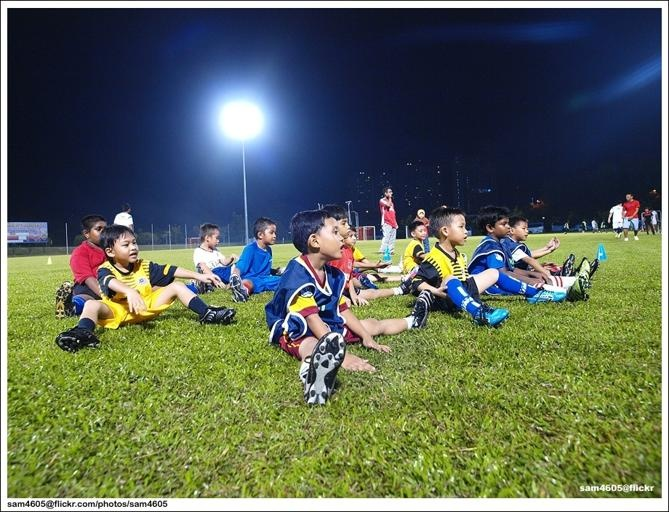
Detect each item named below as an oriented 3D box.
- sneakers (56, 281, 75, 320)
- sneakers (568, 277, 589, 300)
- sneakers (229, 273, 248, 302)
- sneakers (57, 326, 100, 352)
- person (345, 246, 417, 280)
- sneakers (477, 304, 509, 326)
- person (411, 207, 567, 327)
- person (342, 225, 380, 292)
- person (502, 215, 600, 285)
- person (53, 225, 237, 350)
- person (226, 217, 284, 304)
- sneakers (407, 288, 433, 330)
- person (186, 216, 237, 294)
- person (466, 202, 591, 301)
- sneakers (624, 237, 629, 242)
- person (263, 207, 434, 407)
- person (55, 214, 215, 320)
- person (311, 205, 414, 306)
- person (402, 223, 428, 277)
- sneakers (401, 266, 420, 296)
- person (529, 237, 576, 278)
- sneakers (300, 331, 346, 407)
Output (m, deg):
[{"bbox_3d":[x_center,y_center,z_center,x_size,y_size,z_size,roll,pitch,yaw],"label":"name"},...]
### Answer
[{"bbox_3d":[-2.878,0.468,4.877,0.148,0.462,0.182,6,-5,-17],"label":"sneakers"},{"bbox_3d":[2.641,0.354,5.001,0.204,0.268,0.224,0,8,13],"label":"sneakers"},{"bbox_3d":[-1.285,0.423,6.151,0.159,0.439,0.196,-20,-1,23],"label":"sneakers"},{"bbox_3d":[-2.072,0.660,3.726,0.303,0.176,0.174,-7,10,-32],"label":"sneakers"},{"bbox_3d":[0.751,0.090,7.553,1.023,0.665,0.468,11,0,-2],"label":"person"},{"bbox_3d":[1.405,0.543,4.167,0.121,0.154,0.316,-17,-10,-22],"label":"sneakers"},{"bbox_3d":[1.574,0.057,4.778,1.300,1.094,1.434,-7,5,-29],"label":"person"},{"bbox_3d":[0.436,0.017,6.919,0.823,0.932,0.633,4,12,22],"label":"person"},{"bbox_3d":[2.691,-0.025,5.898,1.118,0.947,0.628,2,3,22],"label":"person"},{"bbox_3d":[-1.822,0.225,4.415,1.554,1.048,1.045,-8,10,-35],"label":"person"},{"bbox_3d":[-1.118,0.002,7.060,0.644,1.156,1.666,6,7,29],"label":"person"},{"bbox_3d":[0.761,0.482,4.328,0.147,0.489,0.196,18,9,33],"label":"sneakers"},{"bbox_3d":[-1.909,0.026,7.706,0.805,1.112,0.820,12,13,34],"label":"person"},{"bbox_3d":[2.239,-0.074,5.374,1.328,1.112,0.818,-9,-13,43],"label":"person"},{"bbox_3d":[9.427,-0.535,14.911,0.106,0.110,0.108,-20,19,11],"label":"sneakers"},{"bbox_3d":[0.114,0.246,3.572,1.277,1.176,1.294,-4,8,-11],"label":"person"},{"bbox_3d":[-2.556,0.059,4.956,0.627,0.864,1.082,13,9,19],"label":"person"},{"bbox_3d":[0.450,0.012,5.972,0.894,1.013,0.668,4,8,21],"label":"person"},{"bbox_3d":[1.263,-0.099,7.087,0.456,0.871,0.716,1,4,12],"label":"person"},{"bbox_3d":[0.969,0.340,6.078,0.110,0.220,0.381,37,33,6],"label":"sneakers"},{"bbox_3d":[3.017,0.097,6.437,0.589,0.304,0.791,-16,-1,-12],"label":"person"},{"bbox_3d":[-0.083,0.704,3.046,0.186,0.561,0.207,15,1,-17],"label":"sneakers"}]
